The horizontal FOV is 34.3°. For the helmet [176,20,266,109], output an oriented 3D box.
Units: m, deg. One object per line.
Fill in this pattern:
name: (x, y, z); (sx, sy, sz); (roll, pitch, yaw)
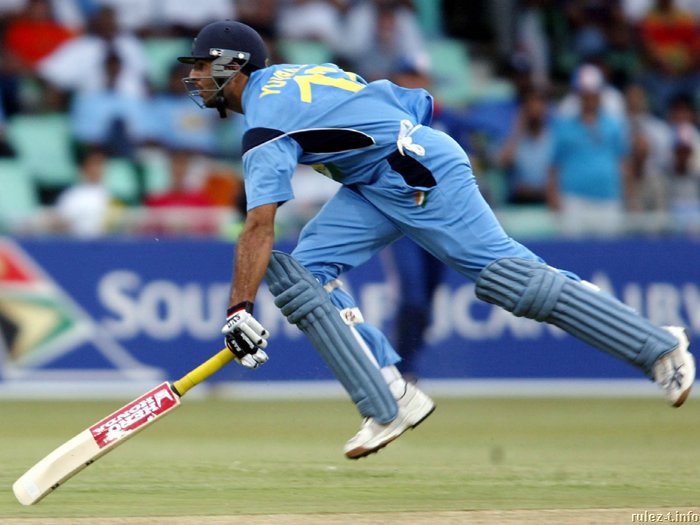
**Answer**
helmet: (-0.635, -1.028, 6.081); (0.542, 0.485, 0.421); (1, 2, -1)

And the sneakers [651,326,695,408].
sneakers: (1.575, 0.516, 5.657); (0.200, 0.408, 0.165); (4, -13, -38)
